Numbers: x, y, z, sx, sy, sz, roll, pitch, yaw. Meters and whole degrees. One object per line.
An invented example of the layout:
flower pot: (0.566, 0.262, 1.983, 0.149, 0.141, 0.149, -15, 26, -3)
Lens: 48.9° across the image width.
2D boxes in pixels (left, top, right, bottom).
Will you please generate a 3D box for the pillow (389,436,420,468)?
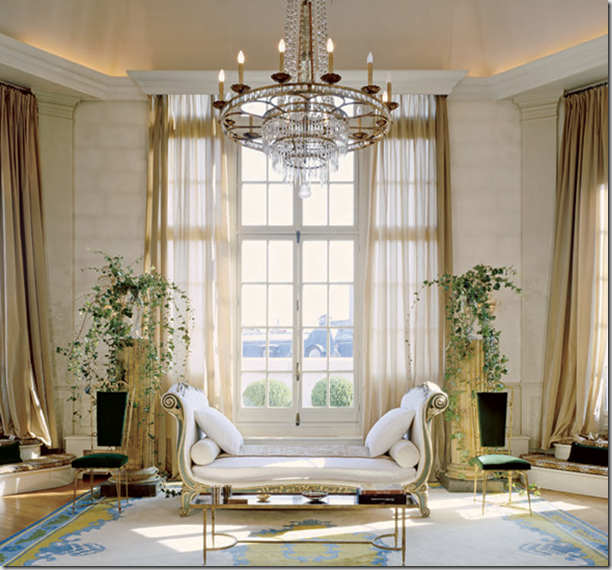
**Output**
pillow: (0.889, 1.509, 6.038, 0.229, 0.205, 0.332, 0, 3, -3)

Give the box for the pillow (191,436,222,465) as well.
pillow: (-0.885, 1.482, 5.981, 0.154, 0.166, 0.376, 28, -3, 5)

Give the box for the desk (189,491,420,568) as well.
desk: (-0.006, 1.840, 5.457, 1.685, 0.538, 1.035, 0, 3, 5)
